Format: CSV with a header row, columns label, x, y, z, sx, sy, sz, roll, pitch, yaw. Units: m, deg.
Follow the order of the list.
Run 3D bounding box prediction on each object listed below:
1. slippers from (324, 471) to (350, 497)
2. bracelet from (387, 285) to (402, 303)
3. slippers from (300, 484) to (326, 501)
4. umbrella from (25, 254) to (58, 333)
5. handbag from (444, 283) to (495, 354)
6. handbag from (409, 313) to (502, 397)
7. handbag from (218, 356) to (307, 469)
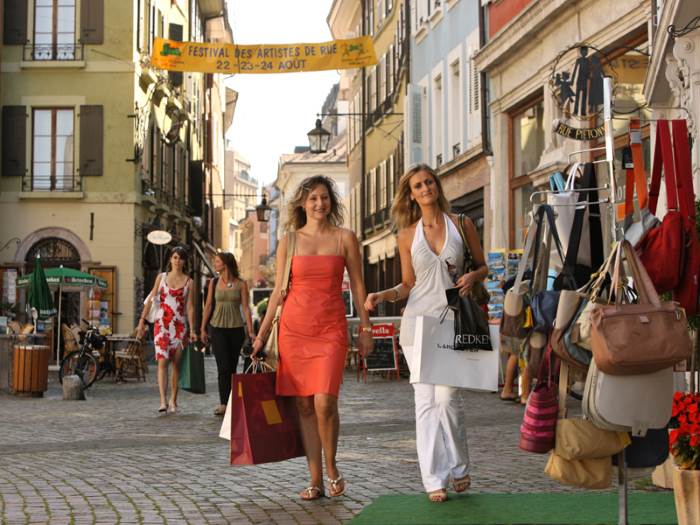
label,x,y,z,sx,sy,sz,roll,pitch,yaw
slippers,-0.102,1.735,6.644,0.143,0.133,0.407,-11,-12,-5
bracelet,0.341,0.249,6.543,0.112,0.173,0.088,2,0,20
slippers,-0.271,1.773,6.578,0.087,0.074,0.167,-8,-17,42
umbrella,-6.840,0.721,19.052,0.559,1.698,1.034,1,-4,-24
handbag,0.894,0.448,6.369,0.459,0.715,0.278,-2,-7,7
handbag,0.770,0.676,6.353,0.497,0.467,0.183,4,-20,-6
handbag,-0.630,1.196,6.610,0.587,0.686,0.163,2,-5,-29
